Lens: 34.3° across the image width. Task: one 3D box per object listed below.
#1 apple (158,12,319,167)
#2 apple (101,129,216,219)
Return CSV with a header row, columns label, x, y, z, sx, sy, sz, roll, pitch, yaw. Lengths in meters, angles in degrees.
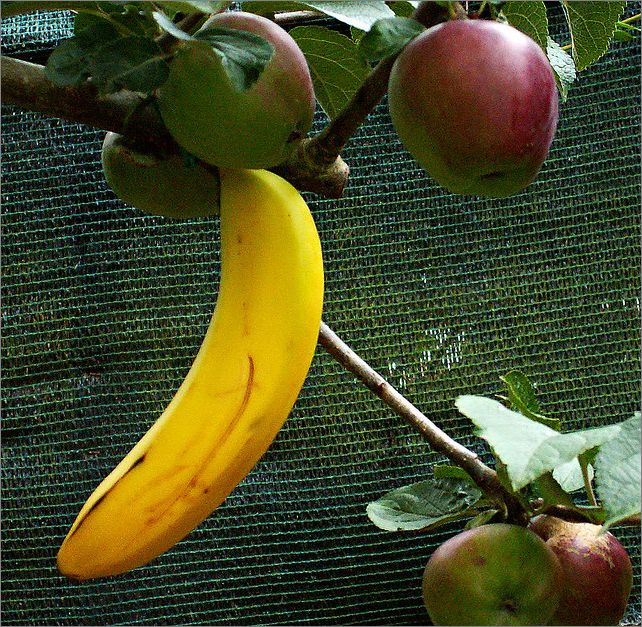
label,x,y,z,sx,sy,sz,roll,pitch,yaw
apple,-0.073,-0.182,0.846,0.099,0.098,0.127,-12,62,-41
apple,-0.131,-0.120,0.945,0.096,0.085,0.043,16,90,-35
